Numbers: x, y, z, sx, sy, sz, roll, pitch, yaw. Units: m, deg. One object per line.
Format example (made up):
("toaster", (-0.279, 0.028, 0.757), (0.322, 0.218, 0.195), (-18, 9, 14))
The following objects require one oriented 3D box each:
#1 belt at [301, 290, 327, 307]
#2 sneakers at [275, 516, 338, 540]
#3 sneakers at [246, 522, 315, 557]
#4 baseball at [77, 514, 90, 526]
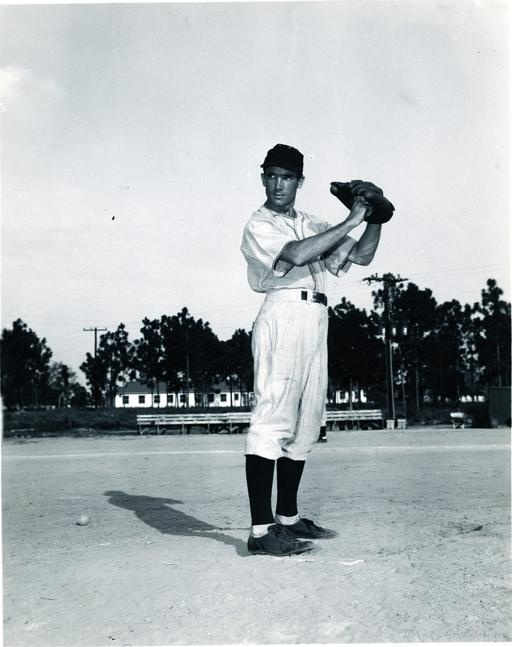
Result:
("belt", (0.336, -0.148, 3.870), (0.129, 0.056, 0.142), (3, -5, 10))
("sneakers", (0.294, 1.200, 3.926), (0.356, 0.150, 0.151), (-2, -2, 2))
("sneakers", (0.127, 1.124, 3.556), (0.325, 0.160, 0.143), (-2, -6, 8))
("baseball", (-1.215, 1.373, 4.737), (0.063, 0.029, 0.069), (-14, -1, 28))
